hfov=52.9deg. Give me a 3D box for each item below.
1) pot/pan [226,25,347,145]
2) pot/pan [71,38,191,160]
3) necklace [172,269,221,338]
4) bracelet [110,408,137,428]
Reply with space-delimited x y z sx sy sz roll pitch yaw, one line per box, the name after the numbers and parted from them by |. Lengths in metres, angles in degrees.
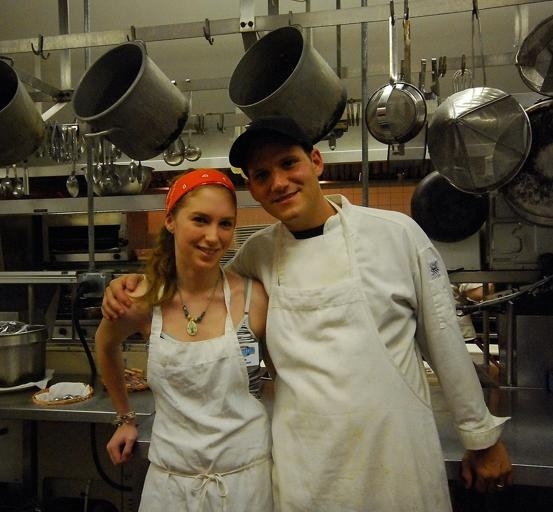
0.044 -0.485 1.809 0.331 0.446 0.343 -10 -12 40 | pot/pan
-0.503 -0.471 1.854 0.355 0.339 0.259 6 -12 46 | pot/pan
-0.252 0.158 1.687 0.125 0.018 0.250 21 34 -20 | necklace
-0.523 0.566 1.901 0.088 0.048 0.036 0 -9 -9 | bracelet
